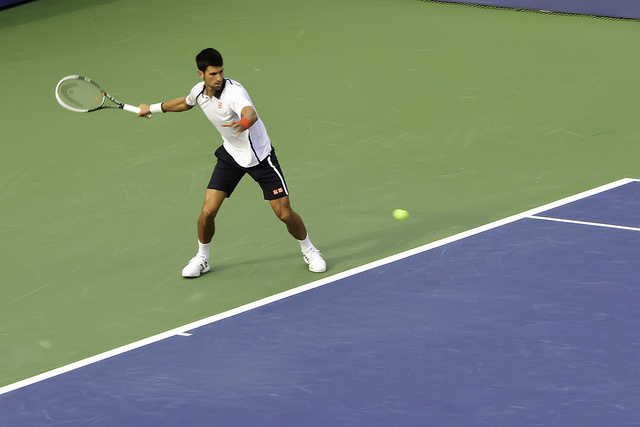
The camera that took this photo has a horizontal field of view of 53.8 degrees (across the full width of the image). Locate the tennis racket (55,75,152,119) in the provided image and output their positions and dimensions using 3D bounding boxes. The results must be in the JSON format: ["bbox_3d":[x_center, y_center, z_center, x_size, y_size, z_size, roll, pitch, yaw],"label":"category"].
[{"bbox_3d":[-2.583,-1.317,7.139,1.298,0.102,0.468,17,75,12],"label":"tennis racket"}]

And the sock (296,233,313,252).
[{"bbox_3d":[-0.163,0.329,6.922,0.120,0.200,0.112,-21,34,2],"label":"sock"}]
